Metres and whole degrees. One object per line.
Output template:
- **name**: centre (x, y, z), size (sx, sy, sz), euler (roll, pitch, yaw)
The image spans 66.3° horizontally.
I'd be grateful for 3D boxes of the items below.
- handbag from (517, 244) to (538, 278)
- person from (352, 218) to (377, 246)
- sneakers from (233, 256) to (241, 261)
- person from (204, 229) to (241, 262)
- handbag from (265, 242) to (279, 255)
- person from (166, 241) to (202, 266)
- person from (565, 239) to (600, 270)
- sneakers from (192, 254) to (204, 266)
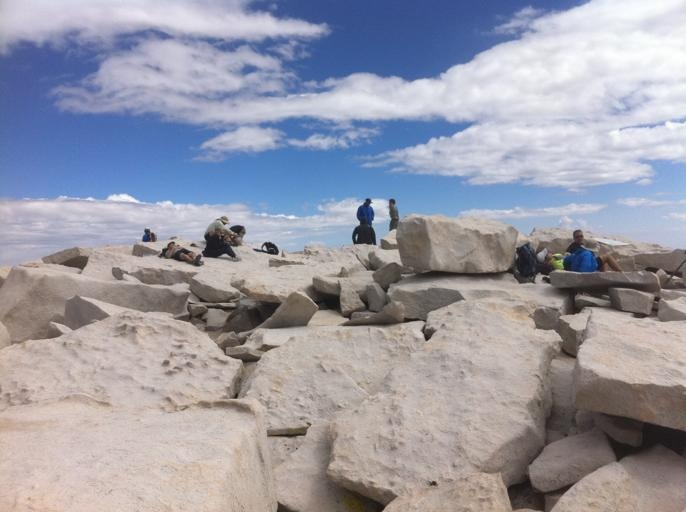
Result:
- **handbag**: centre (2.279, 0.054, 6.549), size (0.269, 0.411, 0.451), euler (10, 7, 16)
- **person**: centre (0.473, -0.529, 11.393), size (0.465, 0.545, 0.978), euler (8, 6, 1)
- **sneakers**: centre (-2.073, 0.043, 10.263), size (0.196, 0.060, 0.130), euler (3, 10, -10)
- **person**: centre (-2.488, -0.258, 10.456), size (0.754, 0.963, 0.465), euler (-2, 10, -19)
- **handbag**: centre (-1.669, -0.199, 12.259), size (0.322, 0.252, 0.575), euler (7, 6, -11)
- **person**: centre (-2.839, -0.049, 9.322), size (0.358, 0.226, 0.887), euler (-22, 31, -38)
- **person**: centre (2.877, 0.035, 6.312), size (0.406, 0.227, 0.925), euler (11, 7, 25)
- **sneakers**: centre (-2.477, 0.071, 9.123), size (0.126, 0.229, 0.233), euler (5, 3, -9)
